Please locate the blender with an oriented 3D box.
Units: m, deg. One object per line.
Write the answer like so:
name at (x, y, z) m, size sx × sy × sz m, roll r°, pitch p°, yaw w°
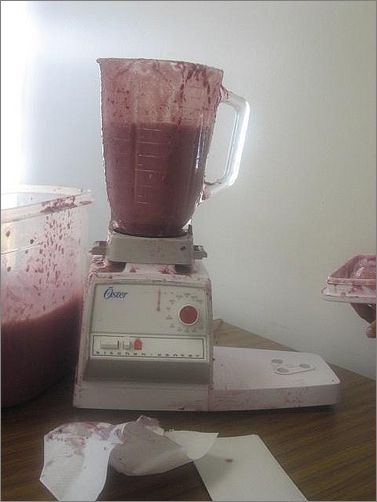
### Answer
blender at (0.023, -0.021, 0.777) m, size 0.495 × 0.500 × 0.304 m, roll 0°, pitch 10°, yaw -18°
